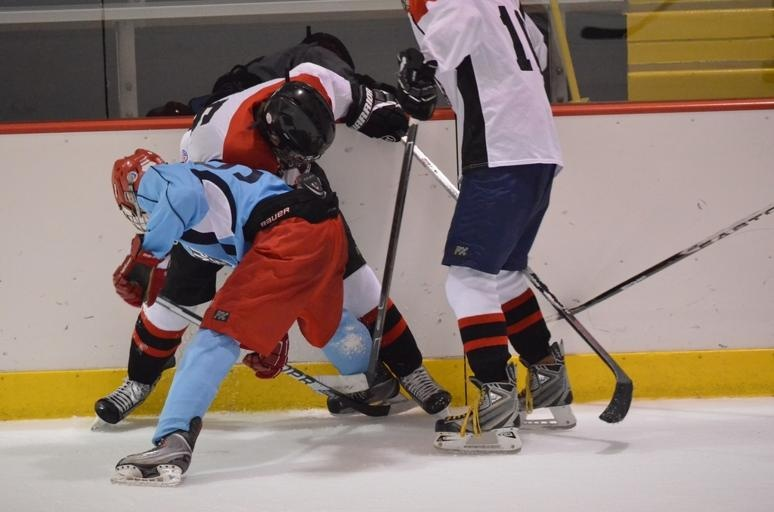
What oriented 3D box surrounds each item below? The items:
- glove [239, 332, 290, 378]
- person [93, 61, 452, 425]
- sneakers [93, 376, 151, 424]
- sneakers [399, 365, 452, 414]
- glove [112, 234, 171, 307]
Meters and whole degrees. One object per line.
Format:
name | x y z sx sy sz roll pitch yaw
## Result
glove | -0.550 0.451 4.197 0.203 0.199 0.090 9 18 -40
person | -0.675 0.203 4.380 1.368 1.484 0.926 -6 -12 -22
sneakers | -1.292 0.698 4.665 0.131 0.141 0.361 25 21 17
sneakers | 0.166 0.633 4.638 0.123 0.161 0.365 -40 21 -7
glove | -1.115 0.072 4.151 0.137 0.238 0.324 7 -36 -25
